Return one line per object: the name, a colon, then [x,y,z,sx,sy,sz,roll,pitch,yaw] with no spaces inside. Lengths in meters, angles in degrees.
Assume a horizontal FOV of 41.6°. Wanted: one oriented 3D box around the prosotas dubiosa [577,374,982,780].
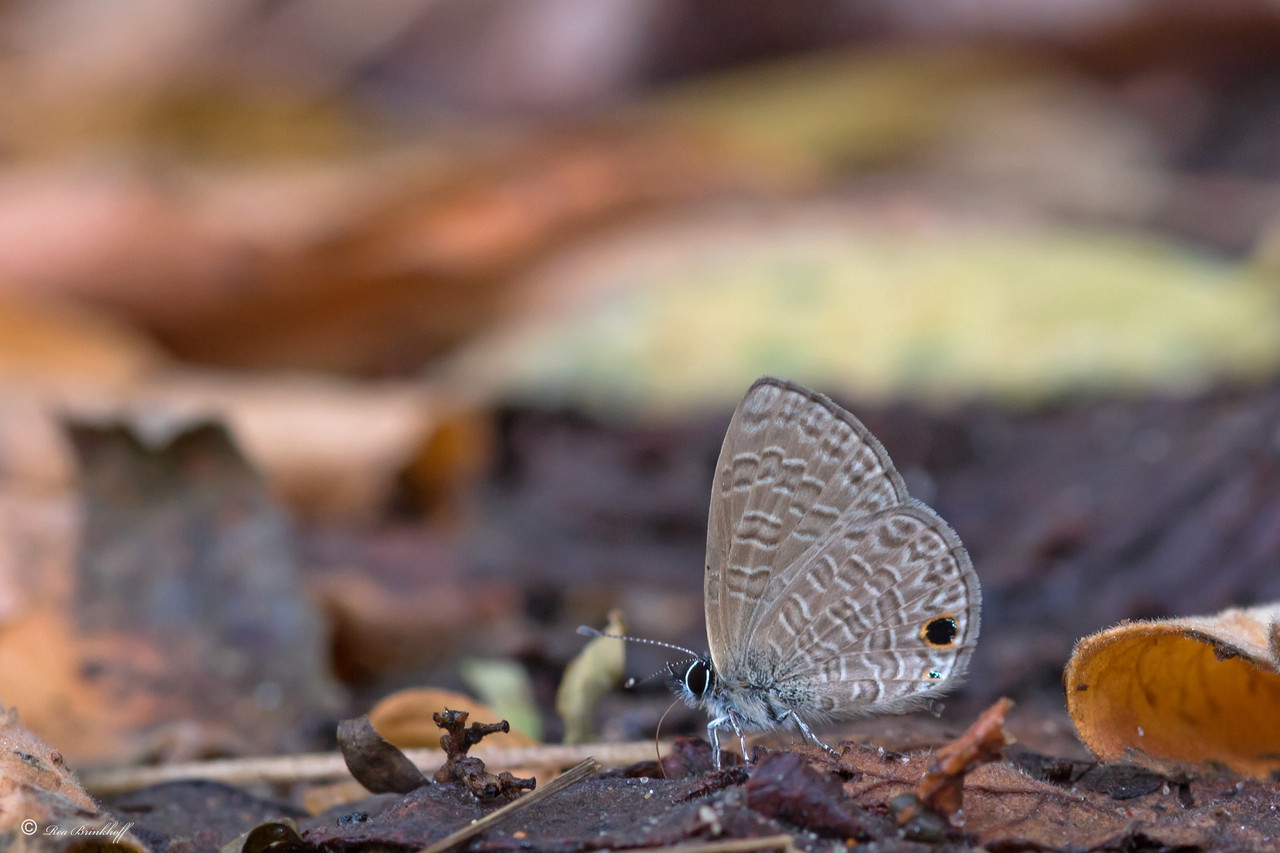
prosotas dubiosa: [0.840,0.589,7.031,1.131,1.296,0.867,8,40,11]
